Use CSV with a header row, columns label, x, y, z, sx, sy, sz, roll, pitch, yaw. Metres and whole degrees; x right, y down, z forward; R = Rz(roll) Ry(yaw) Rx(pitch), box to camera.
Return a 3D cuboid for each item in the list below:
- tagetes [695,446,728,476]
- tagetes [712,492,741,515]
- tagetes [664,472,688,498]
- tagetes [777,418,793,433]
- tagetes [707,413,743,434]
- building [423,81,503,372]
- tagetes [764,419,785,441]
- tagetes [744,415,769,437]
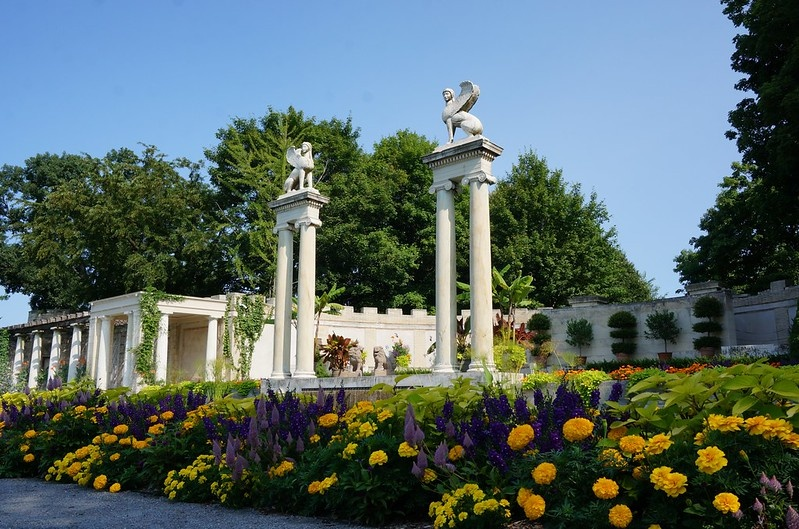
label,x,y,z,sx,sy,sz,roll,pitch,yaw
tagetes,2.981,1.844,6.025,0.348,0.253,0.214,-2,-7,5
tagetes,2.989,2.166,5.782,0.196,0.197,0.100,-11,-51,2
tagetes,2.612,2.062,5.970,0.215,0.217,0.111,-17,-27,2
tagetes,3.713,1.533,6.074,0.086,0.125,0.212,-7,-9,37
tagetes,3.163,1.538,6.154,0.203,0.107,0.209,-1,-2,22
building,1.542,-1.121,15.690,1.570,7.407,1.843,-2,-7,3
tagetes,3.575,1.542,6.020,0.183,0.079,0.182,-14,1,-30
tagetes,3.414,1.538,6.062,0.180,0.184,0.109,-5,-45,43
